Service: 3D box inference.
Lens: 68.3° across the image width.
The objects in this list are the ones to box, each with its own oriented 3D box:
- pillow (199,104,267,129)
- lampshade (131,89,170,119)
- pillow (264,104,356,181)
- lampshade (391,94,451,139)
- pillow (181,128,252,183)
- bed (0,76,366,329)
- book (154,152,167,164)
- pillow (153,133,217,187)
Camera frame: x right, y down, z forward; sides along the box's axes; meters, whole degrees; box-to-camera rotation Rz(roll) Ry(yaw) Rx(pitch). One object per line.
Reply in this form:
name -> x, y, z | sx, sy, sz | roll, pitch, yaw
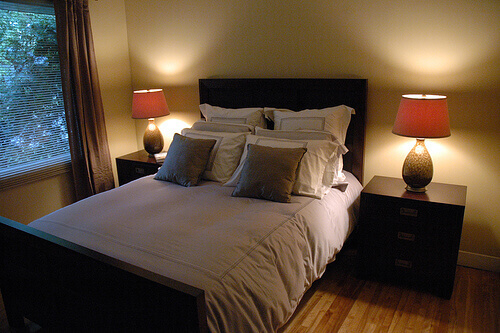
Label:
pillow -> -0.175, -0.608, 4.321 | 0.766, 0.288, 0.405 | 9, 16, 33
lampshade -> -1.259, -0.812, 4.755 | 0.396, 0.343, 0.399 | 2, 15, 14
pillow -> 0.665, -0.364, 4.000 | 0.952, 0.766, 0.531 | 13, 19, 34
lampshade -> 1.689, -0.511, 3.558 | 0.530, 0.367, 0.531 | 1, 21, 25
pillow -> -0.332, -0.154, 4.046 | 0.646, 0.550, 0.486 | 8, 18, 31
bed -> -0.257, 0.359, 3.447 | 2.199, 1.885, 2.907 | 7, 18, 26
book -> -1.137, -0.118, 4.665 | 0.164, 0.042, 0.159 | -1, 42, 9
pillow -> -0.698, -0.088, 3.911 | 0.604, 0.516, 0.431 | 12, 18, 29
